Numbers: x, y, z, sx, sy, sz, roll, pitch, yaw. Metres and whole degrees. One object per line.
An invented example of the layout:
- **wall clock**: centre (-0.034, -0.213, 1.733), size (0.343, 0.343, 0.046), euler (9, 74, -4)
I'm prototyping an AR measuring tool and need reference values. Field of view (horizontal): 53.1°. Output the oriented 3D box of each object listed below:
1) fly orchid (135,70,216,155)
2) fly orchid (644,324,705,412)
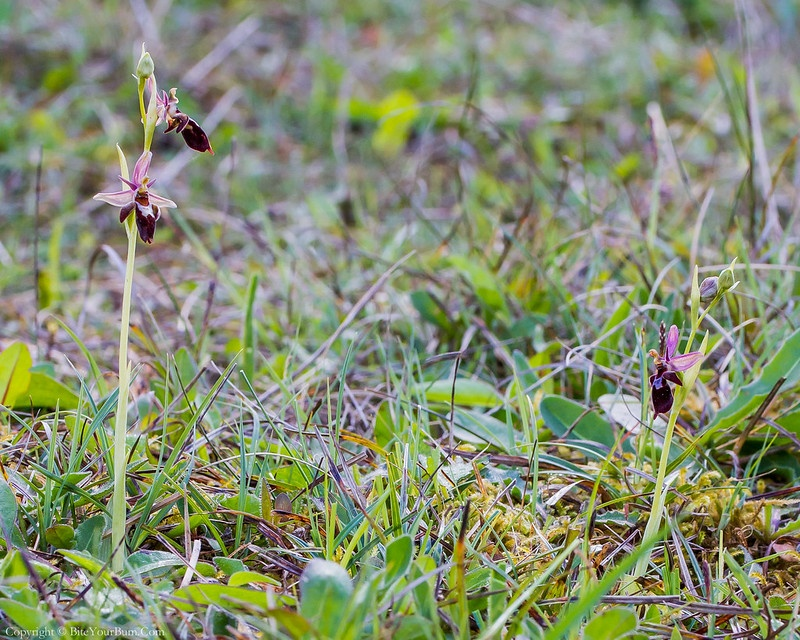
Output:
- **fly orchid**: centre (-0.413, -0.438, 1.543), size (0.069, 0.116, 0.196), euler (-34, 77, -13)
- **fly orchid**: centre (0.530, 0.093, 1.530), size (0.092, 0.152, 0.172), euler (3, 91, 23)
